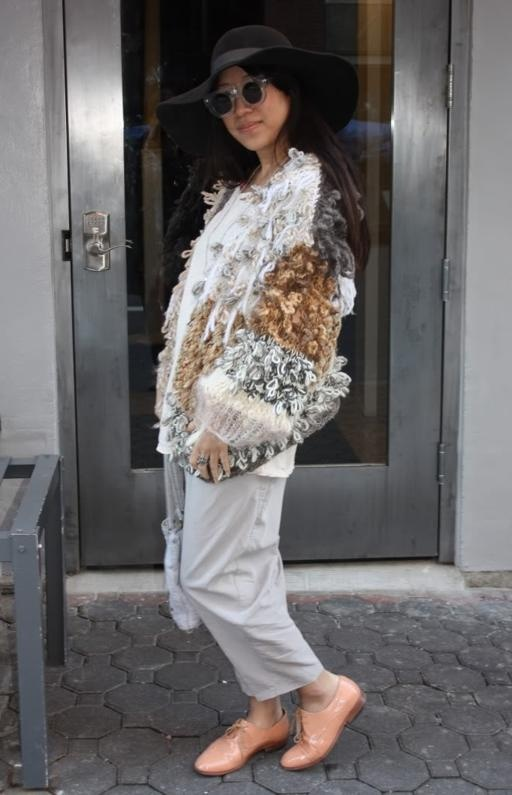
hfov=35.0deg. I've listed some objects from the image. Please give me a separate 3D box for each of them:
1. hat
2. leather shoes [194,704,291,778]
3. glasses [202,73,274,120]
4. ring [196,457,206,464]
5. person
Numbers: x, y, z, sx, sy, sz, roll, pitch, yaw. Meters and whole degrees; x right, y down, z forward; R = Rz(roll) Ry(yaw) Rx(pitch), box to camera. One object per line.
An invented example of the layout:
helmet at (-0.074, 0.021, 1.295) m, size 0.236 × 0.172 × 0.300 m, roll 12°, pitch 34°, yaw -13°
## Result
hat at (-0.001, -0.710, 1.823) m, size 0.436 × 0.164 × 0.405 m, roll -2°, pitch -9°, yaw -23°
leather shoes at (-0.041, 0.838, 1.985) m, size 0.259 × 0.102 × 0.099 m, roll -16°, pitch 20°, yaw -25°
glasses at (-0.037, -0.631, 1.706) m, size 0.090 × 0.032 × 0.091 m, roll -15°, pitch 16°, yaw 37°
ring at (-0.111, 0.132, 1.677) m, size 0.019 × 0.018 × 0.011 m, roll 2°, pitch 10°, yaw 11°
person at (0.014, 0.050, 1.878) m, size 0.483 × 1.709 × 0.645 m, roll -1°, pitch 10°, yaw -6°
